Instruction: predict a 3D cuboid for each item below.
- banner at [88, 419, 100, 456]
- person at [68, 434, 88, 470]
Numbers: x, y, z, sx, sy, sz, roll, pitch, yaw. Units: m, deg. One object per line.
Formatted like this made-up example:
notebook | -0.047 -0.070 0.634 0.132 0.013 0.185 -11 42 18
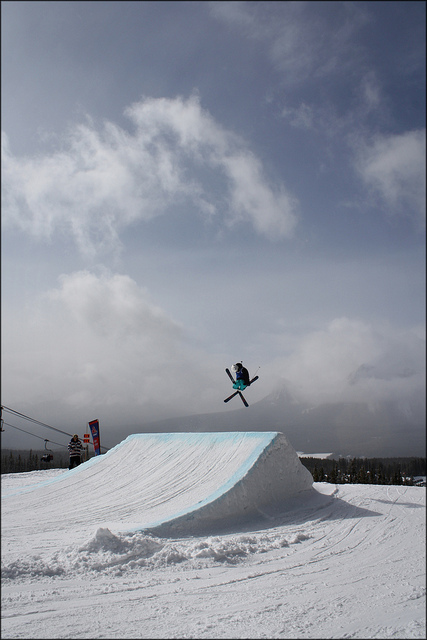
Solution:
banner | -5.309 5.279 26.021 0.365 1.337 1.199 2 -3 -18
person | -5.106 4.907 21.630 0.574 1.448 2.170 2 -3 -14
